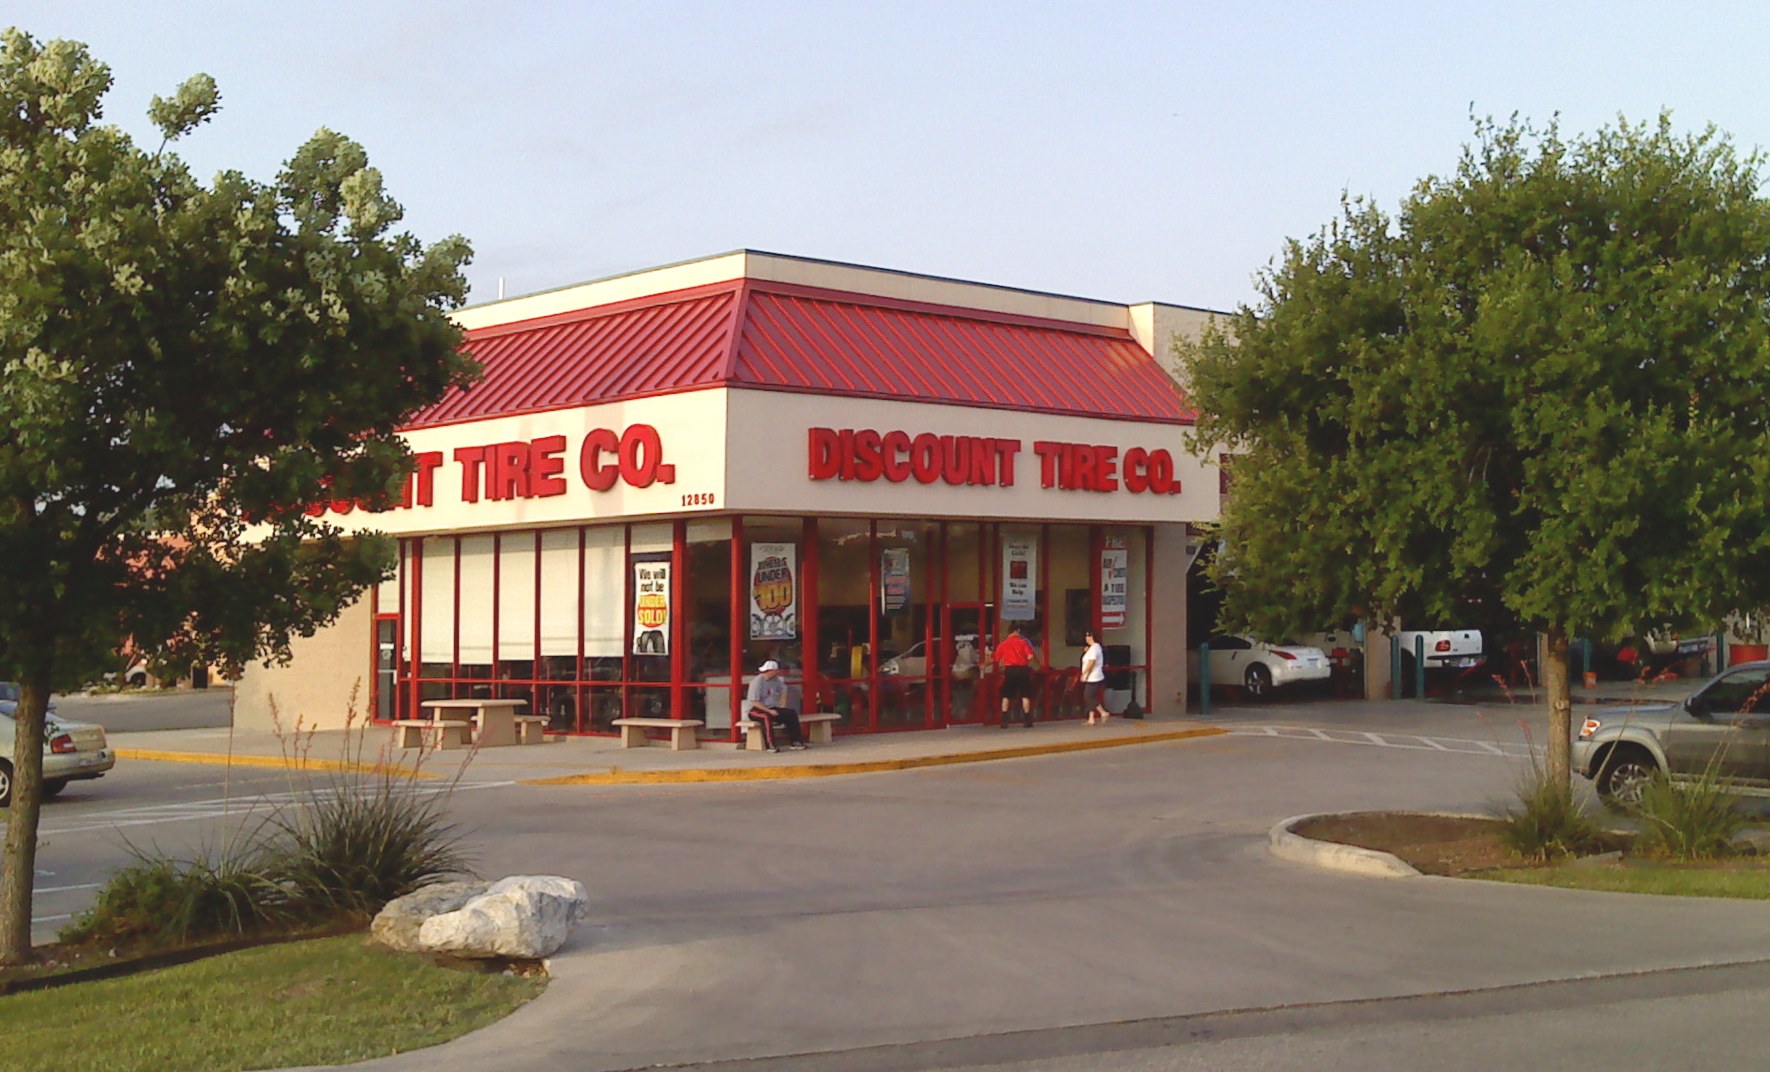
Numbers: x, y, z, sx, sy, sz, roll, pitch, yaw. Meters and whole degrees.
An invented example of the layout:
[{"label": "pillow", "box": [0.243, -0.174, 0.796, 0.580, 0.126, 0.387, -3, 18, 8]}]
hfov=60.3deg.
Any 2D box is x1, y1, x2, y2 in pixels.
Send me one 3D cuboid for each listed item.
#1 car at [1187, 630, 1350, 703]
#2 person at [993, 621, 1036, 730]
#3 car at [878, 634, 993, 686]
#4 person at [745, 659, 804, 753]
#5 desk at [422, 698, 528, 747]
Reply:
[{"label": "car", "box": [10.590, 3.675, 42.225, 3.284, 1.794, 2.048, 0, 0, 41]}, {"label": "person", "box": [2.851, 3.142, 33.551, 0.770, 2.039, 1.586, 0, 1, 4]}, {"label": "car", "box": [1.180, 2.746, 33.463, 1.958, 1.009, 1.089, 4, -5, -10]}, {"label": "person", "box": [-2.165, 3.199, 29.220, 1.084, 1.626, 1.207, 1, 7, -12]}, {"label": "desk", "box": [-8.676, 3.934, 32.535, 1.767, 0.921, 2.674, 0, 0, -13]}]
